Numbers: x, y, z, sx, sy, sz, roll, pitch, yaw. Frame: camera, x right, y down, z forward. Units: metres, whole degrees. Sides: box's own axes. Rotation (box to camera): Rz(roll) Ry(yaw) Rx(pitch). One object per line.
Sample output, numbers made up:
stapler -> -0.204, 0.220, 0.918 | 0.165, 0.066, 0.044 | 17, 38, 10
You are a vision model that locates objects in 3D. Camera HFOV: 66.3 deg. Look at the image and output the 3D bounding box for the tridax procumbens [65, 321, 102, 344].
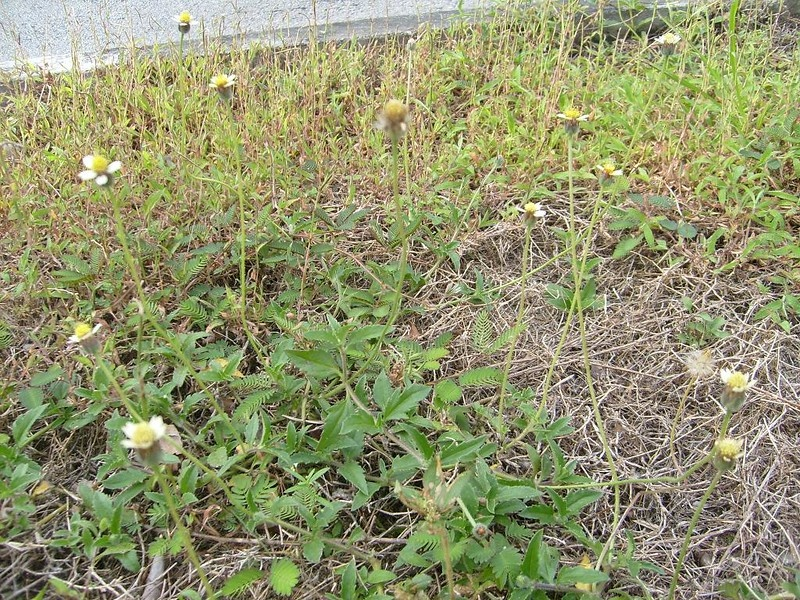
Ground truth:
tridax procumbens -> -1.145, 0.119, 2.198 | 0.122, 0.051, 0.116 | -43, 14, -11
